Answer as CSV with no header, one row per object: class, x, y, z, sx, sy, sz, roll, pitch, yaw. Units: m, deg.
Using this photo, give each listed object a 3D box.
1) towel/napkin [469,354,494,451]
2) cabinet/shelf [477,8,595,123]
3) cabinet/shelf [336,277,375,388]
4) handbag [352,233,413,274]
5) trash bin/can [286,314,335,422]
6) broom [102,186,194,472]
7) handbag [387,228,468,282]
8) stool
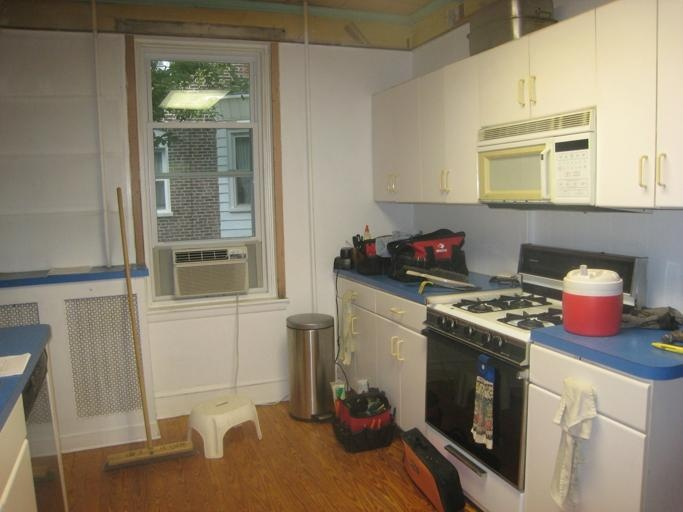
towel/napkin,0.737,0.740,2.832,0.115,0.442,0.113,7,15,33
cabinet/shelf,1.092,-0.979,3.098,0.753,0.472,0.252,3,11,43
cabinet/shelf,0.093,0.599,4.245,0.172,0.861,0.725,-4,13,-13
handbag,0.293,-0.014,4.133,0.334,0.321,0.277,3,0,-12
trash bin/can,-0.228,0.831,4.122,0.352,0.718,0.375,-2,12,-3
broom,-1.368,0.426,3.709,0.552,1.755,0.719,-6,13,-18
handbag,0.608,0.006,3.853,0.420,0.300,0.340,1,-2,-28
stool,-0.797,1.092,3.677,0.402,0.250,0.349,-11,19,-40
